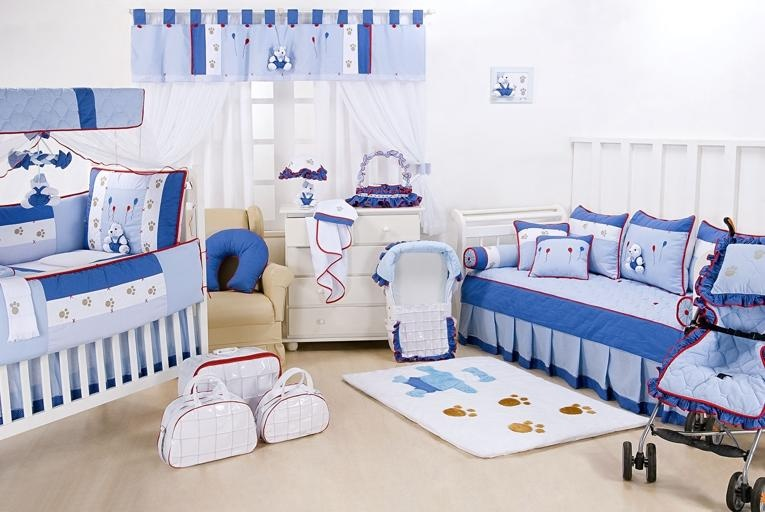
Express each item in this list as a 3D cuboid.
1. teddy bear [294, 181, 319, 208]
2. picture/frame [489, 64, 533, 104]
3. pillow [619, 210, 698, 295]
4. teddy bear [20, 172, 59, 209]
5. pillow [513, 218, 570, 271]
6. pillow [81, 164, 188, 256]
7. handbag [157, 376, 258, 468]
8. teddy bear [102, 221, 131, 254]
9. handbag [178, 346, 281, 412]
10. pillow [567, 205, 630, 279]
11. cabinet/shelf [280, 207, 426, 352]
[{"bbox_3d":[-0.635,-0.542,4.770,0.148,0.223,0.413,-2,12,-6],"label":"teddy bear"},{"bbox_3d":[1.148,-1.567,5.064,0.319,0.290,0.037,0,10,-3],"label":"picture/frame"},{"bbox_3d":[2.019,0.000,4.101,0.198,0.471,0.525,26,-7,-32],"label":"pillow"},{"bbox_3d":[-2.191,-0.413,3.573,0.188,0.227,0.335,-10,15,-36],"label":"teddy bear"},{"bbox_3d":[1.303,-0.076,4.597,0.396,0.420,0.144,1,-13,9],"label":"pillow"},{"bbox_3d":[-1.624,-0.286,3.724,0.630,0.625,0.192,2,0,27],"label":"pillow"},{"bbox_3d":[-0.986,0.971,3.239,0.444,0.411,0.157,-2,4,-27],"label":"handbag"},{"bbox_3d":[-1.763,-0.120,3.747,0.204,0.221,0.128,-1,-1,23],"label":"teddy bear"},{"bbox_3d":[-1.030,0.747,3.687,0.633,0.369,0.614,-1,-4,-33],"label":"handbag"},{"bbox_3d":[1.717,-0.088,4.455,0.191,0.528,0.534,12,-2,-34],"label":"pillow"},{"bbox_3d":[-0.230,0.159,4.560,1.068,1.121,0.455,-1,4,-8],"label":"cabinet/shelf"}]
